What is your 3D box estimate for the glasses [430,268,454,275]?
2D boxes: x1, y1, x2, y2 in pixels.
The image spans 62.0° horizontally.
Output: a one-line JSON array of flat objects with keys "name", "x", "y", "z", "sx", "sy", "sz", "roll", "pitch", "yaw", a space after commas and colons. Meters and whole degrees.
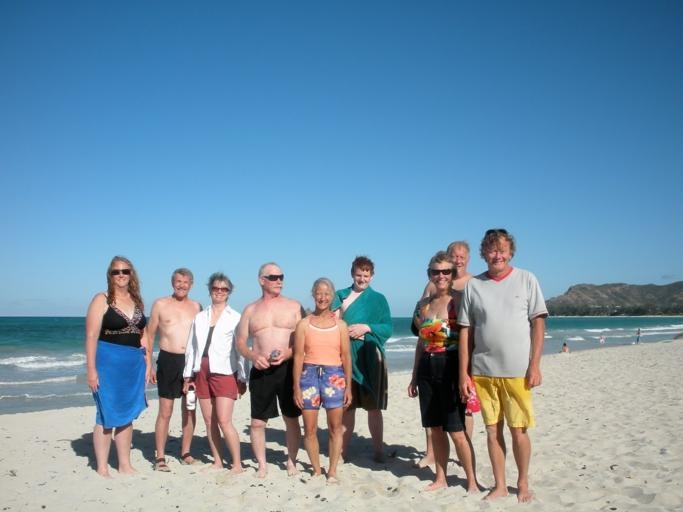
[{"name": "glasses", "x": 1.295, "y": 0.202, "z": 7.282, "sx": 0.347, "sy": 0.089, "sz": 0.186, "roll": -2, "pitch": -4, "yaw": 4}]

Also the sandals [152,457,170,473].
[{"name": "sandals", "x": -2.637, "y": 3.020, "z": 8.312, "sx": 0.220, "sy": 0.159, "sz": 0.374, "roll": 0, "pitch": -4, "yaw": -21}]

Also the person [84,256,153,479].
[{"name": "person", "x": -3.114, "y": 1.525, "z": 7.893, "sx": 0.788, "sy": 3.004, "sz": 0.519, "roll": 0, "pitch": -4, "yaw": -24}]

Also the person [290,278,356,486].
[{"name": "person", "x": -0.252, "y": 1.664, "z": 7.668, "sx": 0.788, "sy": 2.703, "sz": 0.571, "roll": -1, "pitch": -4, "yaw": 0}]

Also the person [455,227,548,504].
[{"name": "person", "x": 2.001, "y": 1.332, "z": 6.991, "sx": 1.047, "sy": 3.317, "sz": 0.341, "roll": -3, "pitch": -4, "yaw": 19}]
